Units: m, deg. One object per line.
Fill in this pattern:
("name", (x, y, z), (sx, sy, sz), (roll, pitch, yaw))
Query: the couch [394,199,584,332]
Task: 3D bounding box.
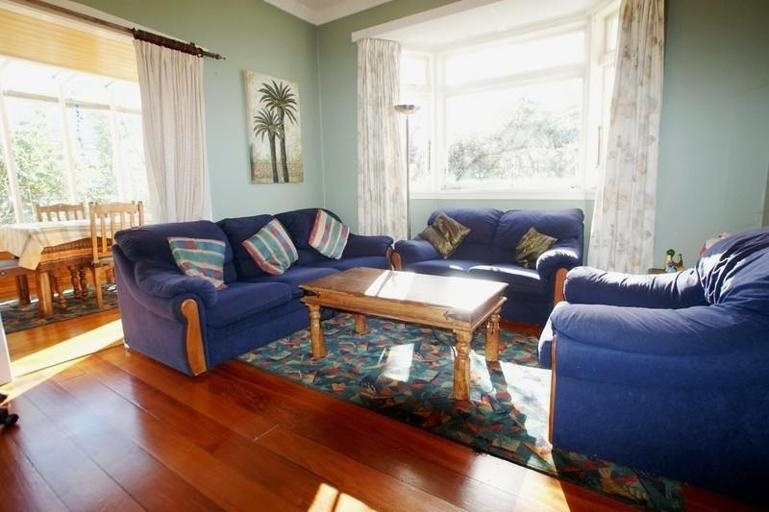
("couch", (1.079, 0.103, 5.339), (1.955, 1.162, 1.096), (5, 12, 28))
